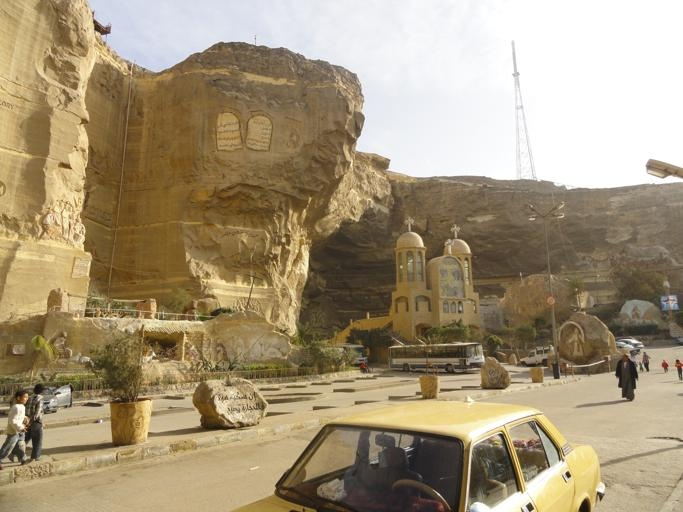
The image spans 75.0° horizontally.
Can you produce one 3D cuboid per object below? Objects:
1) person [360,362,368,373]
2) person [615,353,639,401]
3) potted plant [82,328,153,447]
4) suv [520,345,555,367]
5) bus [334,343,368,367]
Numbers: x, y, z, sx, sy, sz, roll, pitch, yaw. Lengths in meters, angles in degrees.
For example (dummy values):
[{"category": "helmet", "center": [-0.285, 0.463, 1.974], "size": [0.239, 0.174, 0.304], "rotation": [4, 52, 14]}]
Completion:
[{"category": "person", "center": [1.779, 8.845, 35.576], "size": [0.392, 0.772, 1.702], "rotation": [-2, -11, 10]}, {"category": "person", "center": [10.583, 4.416, 16.484], "size": [0.624, 1.559, 1.951], "rotation": [-7, -12, 31]}, {"category": "potted plant", "center": [-5.031, 3.147, 10.269], "size": [1.310, 2.300, 1.398], "rotation": [-13, -16, 20]}, {"category": "suv", "center": [17.277, 8.926, 39.615], "size": [1.552, 1.761, 4.390], "rotation": [-1, -11, 4]}, {"category": "bus", "center": [1.178, 9.028, 41.262], "size": [1.810, 2.191, 5.108], "rotation": [-2, -14, -17]}]
